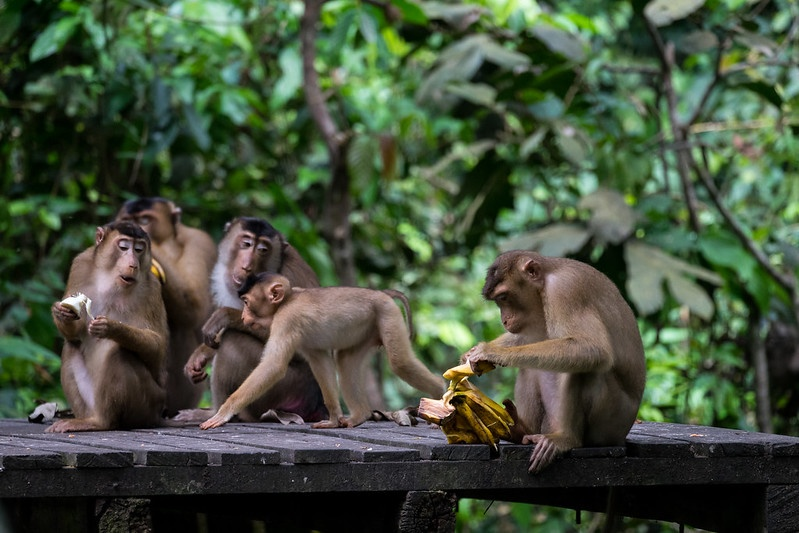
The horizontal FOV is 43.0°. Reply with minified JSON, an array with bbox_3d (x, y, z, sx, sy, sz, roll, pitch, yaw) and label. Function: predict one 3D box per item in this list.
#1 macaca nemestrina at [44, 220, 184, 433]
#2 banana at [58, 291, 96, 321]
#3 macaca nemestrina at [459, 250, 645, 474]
[{"bbox_3d":[-2.262,0.459,7.934,0.863,1.574,0.831,5,0,-6],"label":"macaca nemestrina"},{"bbox_3d":[-2.465,0.297,7.790,0.141,0.119,0.278,40,-11,1],"label":"banana"},{"bbox_3d":[1.078,0.652,6.940,1.167,1.536,0.909,5,0,14],"label":"macaca nemestrina"}]
